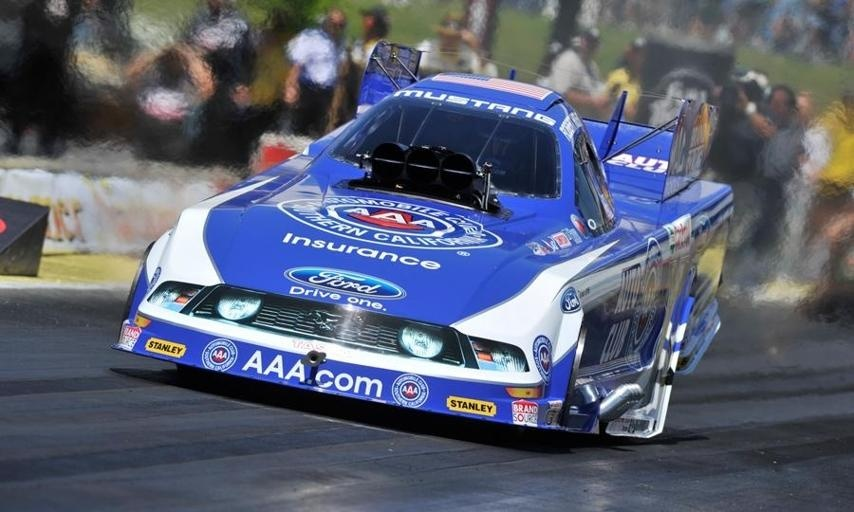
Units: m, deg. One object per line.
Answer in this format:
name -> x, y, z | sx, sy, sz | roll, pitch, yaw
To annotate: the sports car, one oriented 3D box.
sports car -> 0.086, -0.506, 8.337 | 3.666, 1.374, 4.584 | 17, 28, 24
